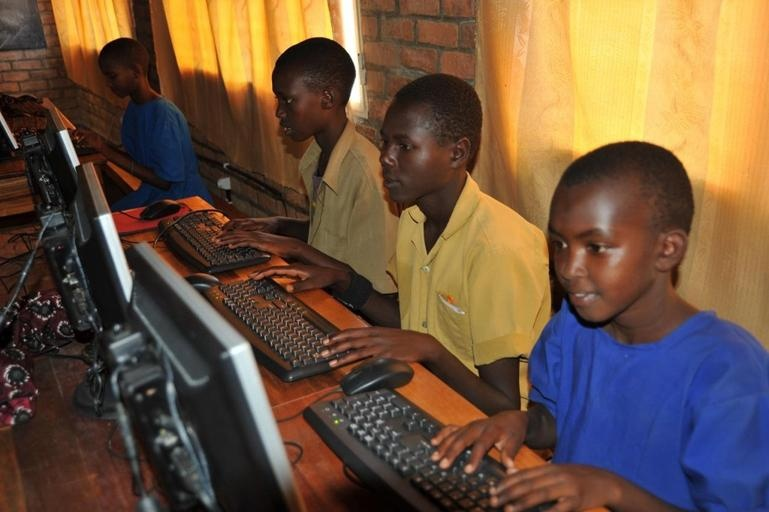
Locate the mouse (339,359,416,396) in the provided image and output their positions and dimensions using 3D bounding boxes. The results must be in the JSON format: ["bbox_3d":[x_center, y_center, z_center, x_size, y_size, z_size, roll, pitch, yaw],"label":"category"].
[{"bbox_3d":[-0.018,0.270,1.405,0.141,0.045,0.075,-5,18,-24],"label":"mouse"}]

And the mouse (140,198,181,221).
[{"bbox_3d":[-0.897,-0.188,2.437,0.141,0.044,0.077,-18,27,-40],"label":"mouse"}]

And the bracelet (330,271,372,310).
[{"bbox_3d":[-0.102,0.114,1.962,0.100,0.075,0.137,33,14,0],"label":"bracelet"}]

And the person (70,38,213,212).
[{"bbox_3d":[-1.370,-0.558,3.451,0.814,1.273,0.669,-1,27,-24],"label":"person"}]

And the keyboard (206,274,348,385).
[{"bbox_3d":[-0.285,0.183,1.628,0.206,0.056,0.484,-19,38,-34],"label":"keyboard"}]
